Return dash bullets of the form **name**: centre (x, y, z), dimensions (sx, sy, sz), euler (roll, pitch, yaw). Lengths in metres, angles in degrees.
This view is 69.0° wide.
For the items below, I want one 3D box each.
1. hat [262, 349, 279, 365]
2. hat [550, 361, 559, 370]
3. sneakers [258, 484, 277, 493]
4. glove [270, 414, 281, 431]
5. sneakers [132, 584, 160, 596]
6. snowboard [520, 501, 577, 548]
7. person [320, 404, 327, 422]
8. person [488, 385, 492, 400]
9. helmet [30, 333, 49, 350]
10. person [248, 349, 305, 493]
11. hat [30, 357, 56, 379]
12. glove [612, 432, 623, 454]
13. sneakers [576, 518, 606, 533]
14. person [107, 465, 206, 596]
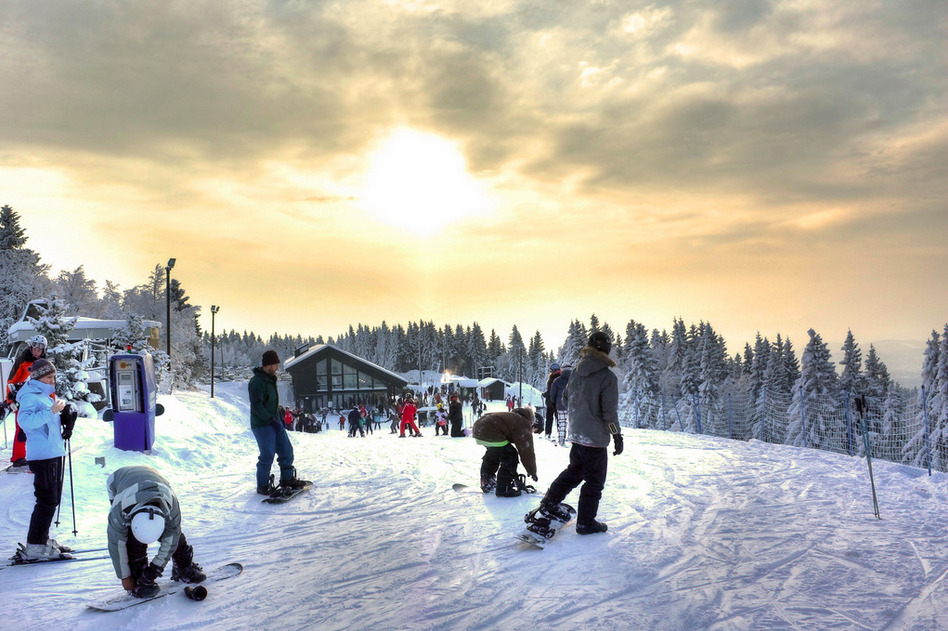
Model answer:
- **hat**: centre (-4.471, 0.905, 15.092), dimensions (0.388, 0.337, 0.347), euler (-1, 2, -2)
- **hat**: centre (2.187, 1.360, 18.687), dimensions (0.197, 0.139, 0.191), euler (1, -2, -8)
- **sneakers**: centre (-4.591, 3.892, 15.431), dimensions (0.543, 0.223, 0.190), euler (0, -1, -2)
- **glove**: centre (-4.362, 2.353, 15.058), dimensions (0.055, 0.375, 0.253), euler (8, 16, 33)
- **sneakers**: centre (-5.554, 4.620, 11.618), dimensions (0.318, 0.101, 0.200), euler (-9, -8, -2)
- **snowboard**: centre (1.300, 3.992, 13.109), dimensions (0.474, 0.556, 1.459), euler (0, 2, 32)
- **person**: centre (-12.483, 8.082, 56.668), dimensions (0.692, 1.086, 0.363), euler (4, -1, 40)
- **person**: centre (1.866, 9.478, 84.671), dimensions (0.693, 1.323, 0.810), euler (-1, 14, 1)
- **helmet**: centre (-10.536, 0.630, 16.637), dimensions (0.480, 0.396, 0.351), euler (-14, -16, 31)
- **person**: centre (-4.521, 2.363, 15.381), dimensions (0.930, 3.316, 1.240), euler (-6, 15, -18)
- **hat**: centre (-8.042, 0.951, 12.827), dimensions (0.398, 0.362, 0.370), euler (-6, 5, -15)
- **glove**: centre (2.693, 2.375, 12.912), dimensions (0.302, 0.406, 0.148), euler (-3, -6, 22)
- **sneakers**: centre (2.231, 4.049, 13.338), dimensions (0.641, 0.259, 0.228), euler (-2, 3, -14)
- **person**: centre (-5.497, 3.613, 11.669), dimensions (1.323, 2.092, 0.880), euler (-5, 14, -16)
